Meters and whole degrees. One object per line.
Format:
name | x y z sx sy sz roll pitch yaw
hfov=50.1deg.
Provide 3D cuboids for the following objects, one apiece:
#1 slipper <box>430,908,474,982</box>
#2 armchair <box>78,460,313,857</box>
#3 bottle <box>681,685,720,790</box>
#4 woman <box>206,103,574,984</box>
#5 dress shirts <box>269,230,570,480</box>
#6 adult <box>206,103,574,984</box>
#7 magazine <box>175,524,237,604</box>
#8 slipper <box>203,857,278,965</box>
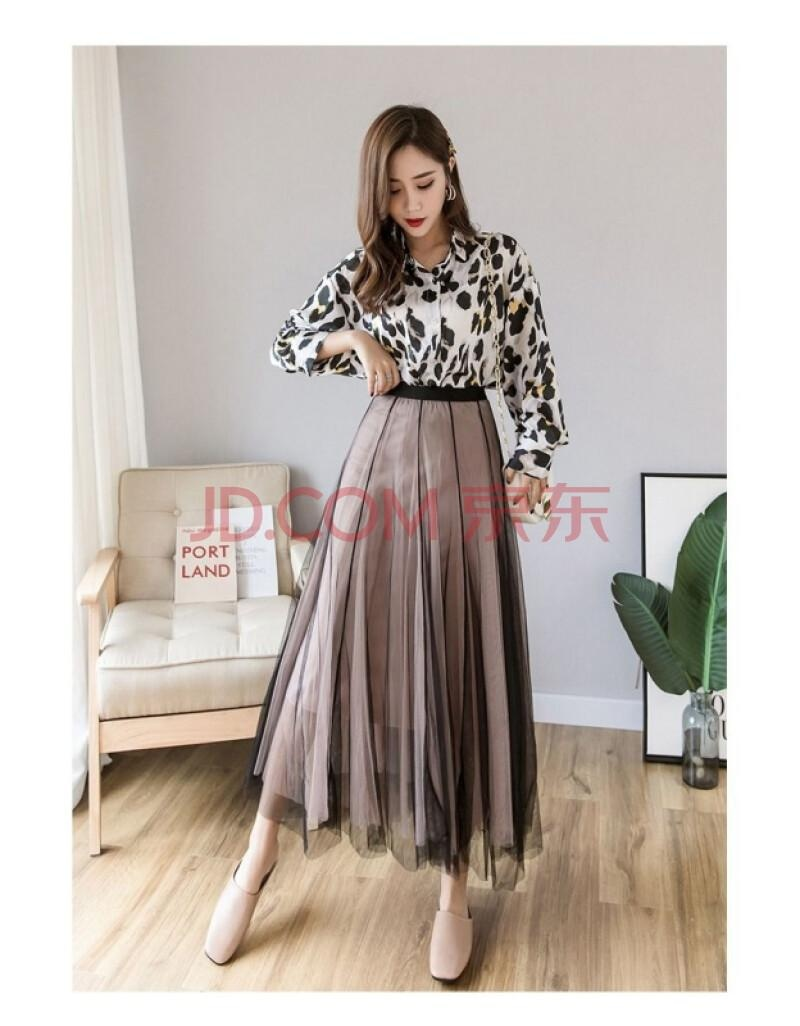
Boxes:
slipper | 0.104 0.795 1.645 0.073 0.069 0.188 -12 16 15
armchair | -0.574 0.279 2.256 0.566 1.061 0.845 -1 8 -12
bottle | 0.807 0.594 2.294 0.084 0.272 0.089 -4 11 1
woman | -0.008 0.069 1.624 0.620 1.553 0.373 2 9 13
dress shirts | 0.060 -0.352 1.777 0.584 0.607 0.218 2 13 6
adult | -0.009 0.070 1.623 0.617 1.553 0.382 2 9 14
magazine | -0.572 0.149 2.526 0.171 0.017 0.273 0 52 -13
slipper | -0.304 0.787 1.705 0.064 0.252 0.095 15 -27 4
